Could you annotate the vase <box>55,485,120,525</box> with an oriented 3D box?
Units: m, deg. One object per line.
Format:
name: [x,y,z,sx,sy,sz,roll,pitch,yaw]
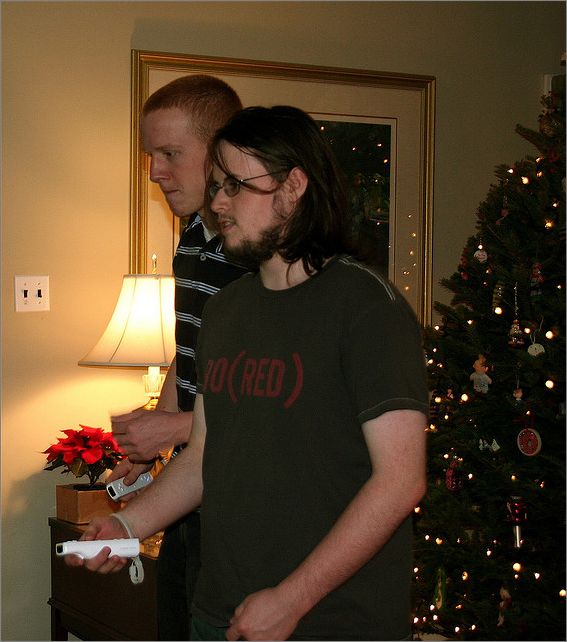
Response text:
vase: [-0.594,0.581,2.070,0.284,0.104,0.245,-1,-10,-6]

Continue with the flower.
flower: [-0.610,0.420,2.042,0.242,0.138,0.241,-7,4,-30]

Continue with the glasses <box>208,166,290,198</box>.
glasses: [-0.055,-0.207,0.999,0.069,0.017,0.064,0,-3,-29]
